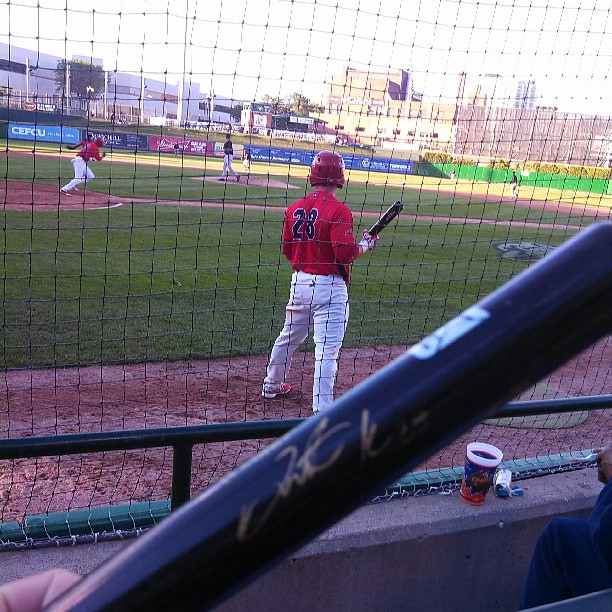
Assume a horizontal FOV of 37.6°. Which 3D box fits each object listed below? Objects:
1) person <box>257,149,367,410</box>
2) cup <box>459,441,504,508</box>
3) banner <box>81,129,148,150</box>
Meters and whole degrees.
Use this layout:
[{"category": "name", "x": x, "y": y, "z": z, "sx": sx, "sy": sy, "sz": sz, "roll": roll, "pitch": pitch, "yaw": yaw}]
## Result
[{"category": "person", "x": 0.072, "y": -0.112, "z": 5.730, "sx": 0.512, "sy": 1.727, "sz": 0.804, "roll": -4, "pitch": 15, "yaw": -17}, {"category": "cup", "x": 0.720, "y": 0.762, "z": 3.937, "sx": 0.199, "sy": 0.221, "sz": 0.180, "roll": 3, "pitch": 0, "yaw": -21}, {"category": "banner", "x": -5.633, "y": -4.912, "z": 26.526, "sx": 1.563, "sy": 0.766, "sz": 5.610, "roll": -1, "pitch": 13, "yaw": -6}]
